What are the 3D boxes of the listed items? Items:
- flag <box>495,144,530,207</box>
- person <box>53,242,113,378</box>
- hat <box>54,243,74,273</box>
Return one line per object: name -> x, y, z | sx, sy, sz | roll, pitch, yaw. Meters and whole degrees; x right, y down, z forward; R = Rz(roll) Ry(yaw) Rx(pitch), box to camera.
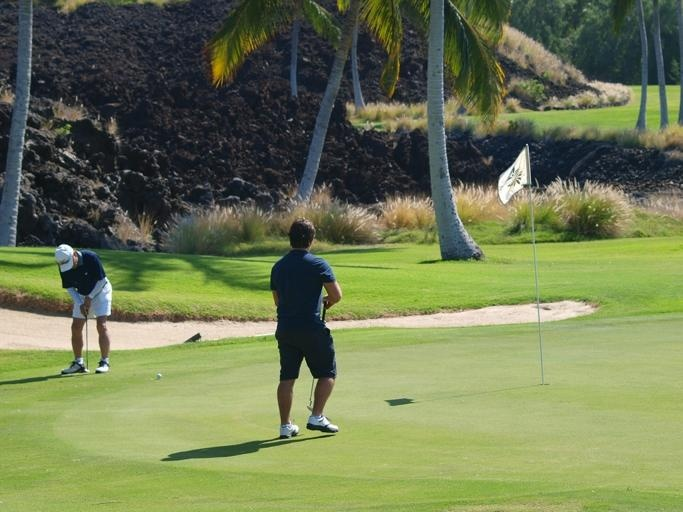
flag -> 5.045, -2.456, 48.423 | 0.901, 1.570, 2.467 | -2, 0, 5
person -> -7.388, 1.524, 48.327 | 1.468, 3.746, 1.041 | -3, 1, -8
hat -> -7.962, 0.055, 48.167 | 0.520, 0.799, 0.485 | -3, 0, -10
